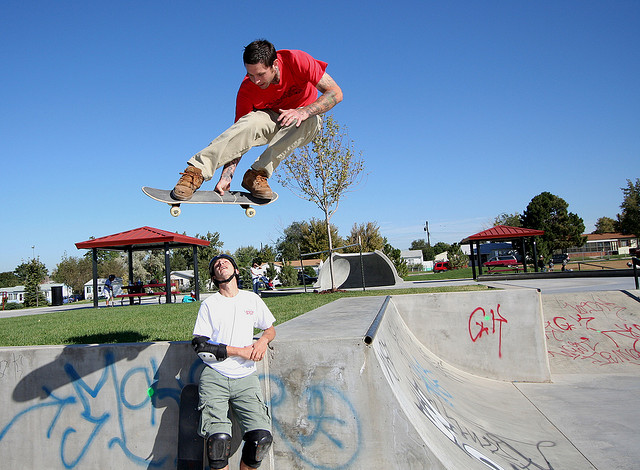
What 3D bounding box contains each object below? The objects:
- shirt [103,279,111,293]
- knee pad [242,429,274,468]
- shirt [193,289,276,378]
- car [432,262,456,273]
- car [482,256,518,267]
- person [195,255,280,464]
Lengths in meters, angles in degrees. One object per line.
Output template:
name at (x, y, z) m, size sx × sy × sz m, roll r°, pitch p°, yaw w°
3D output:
shirt at (-9.414, 2.267, 19.004) m, size 0.218 × 0.771 × 1.035 m, roll 3°, pitch 8°, yaw -28°
knee pad at (-0.702, 2.299, 4.635) m, size 0.308 × 0.390 × 0.142 m, roll 8°, pitch 7°, yaw 3°
shirt at (-0.989, 1.173, 4.938) m, size 0.922 × 0.971 × 0.397 m, roll 1°, pitch -13°, yaw -24°
car at (16.230, 4.315, 57.378) m, size 2.198 × 1.123 × 4.867 m, roll 11°, pitch 7°, yaw 23°
car at (12.618, 1.862, 30.254) m, size 2.365 × 0.924 × 1.217 m, roll 0°, pitch -3°, yaw -17°
person at (-0.961, 1.555, 4.869) m, size 0.905 × 2.500 × 1.033 m, roll 3°, pitch 7°, yaw -29°
